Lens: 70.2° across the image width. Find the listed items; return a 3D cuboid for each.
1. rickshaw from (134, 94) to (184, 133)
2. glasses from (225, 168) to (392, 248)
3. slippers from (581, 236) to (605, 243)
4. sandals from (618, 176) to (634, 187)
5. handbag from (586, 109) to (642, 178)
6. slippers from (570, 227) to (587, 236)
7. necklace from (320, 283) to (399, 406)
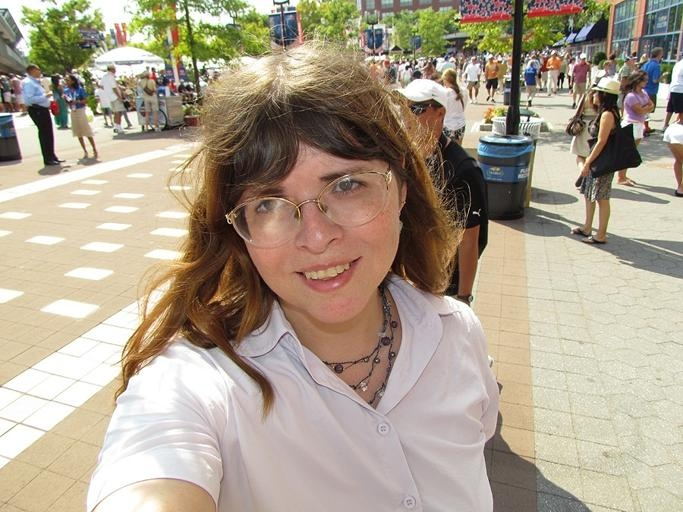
[{"bbox_3d":[-7.338,-5.820,19.486,1.598,1.195,1.031,12,30,20],"label":"rickshaw"},{"bbox_3d":[-0.111,-0.153,1.622,0.543,0.212,0.115,-4,23,-4],"label":"glasses"},{"bbox_3d":[3.816,-0.233,7.357,0.111,0.066,0.233,-3,9,-29],"label":"slippers"},{"bbox_3d":[5.944,-1.538,10.165,0.300,0.304,0.156,-1,25,32],"label":"sandals"},{"bbox_3d":[4.001,-1.523,7.001,0.759,0.728,0.402,-20,29,-35],"label":"handbag"},{"bbox_3d":[3.742,-0.380,7.657,0.100,0.071,0.190,1,12,-21],"label":"slippers"},{"bbox_3d":[0.057,0.345,1.806,0.324,0.067,0.425,-22,68,-6],"label":"necklace"}]
